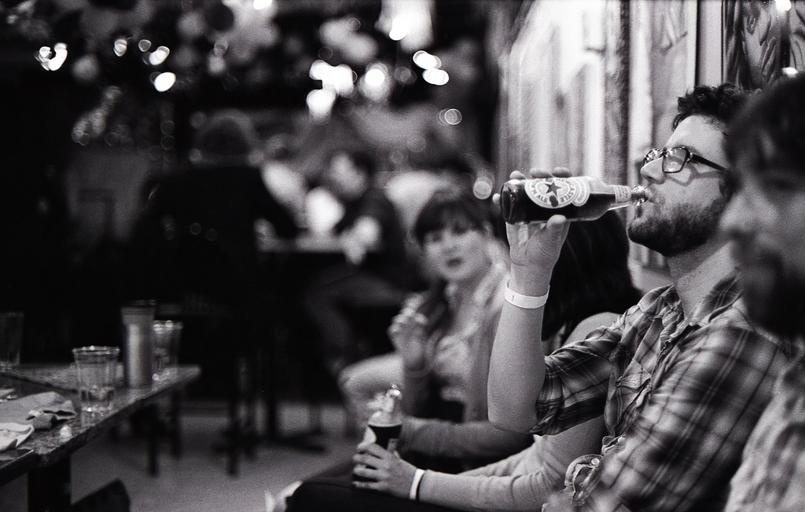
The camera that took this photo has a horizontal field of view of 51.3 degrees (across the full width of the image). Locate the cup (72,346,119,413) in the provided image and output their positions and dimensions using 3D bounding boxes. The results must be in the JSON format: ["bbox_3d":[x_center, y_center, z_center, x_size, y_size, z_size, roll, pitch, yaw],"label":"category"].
[{"bbox_3d":[-1.108,0.441,3.034,0.145,0.224,0.155,-1,1,0],"label":"cup"}]

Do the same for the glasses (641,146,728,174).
[{"bbox_3d":[0.892,-0.301,2.622,0.121,0.036,0.116,16,-6,-12],"label":"glasses"}]
